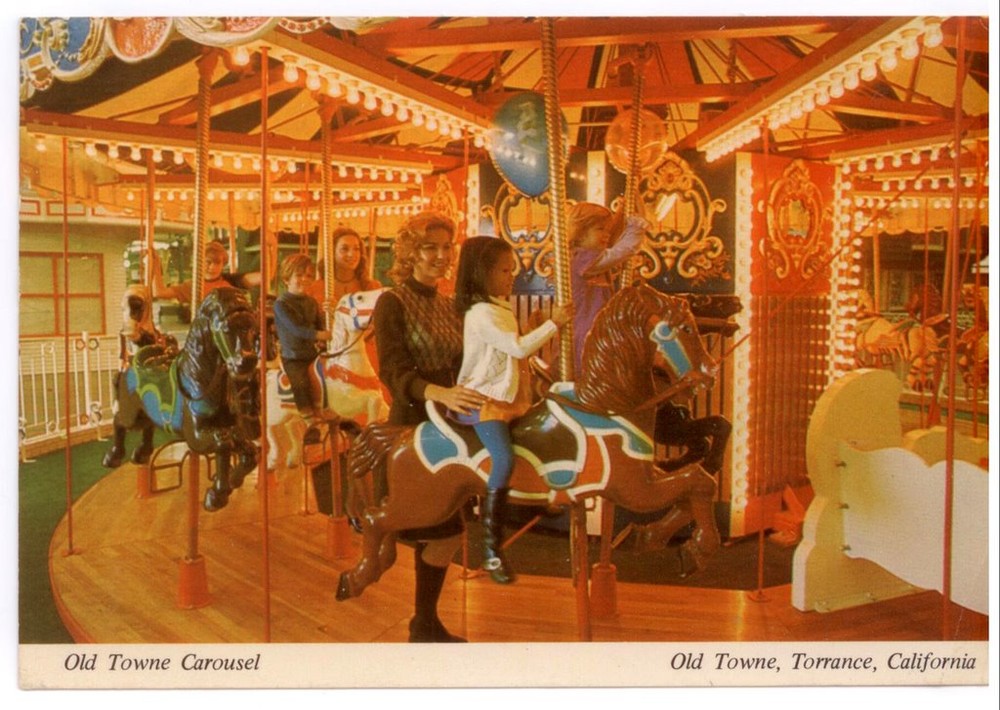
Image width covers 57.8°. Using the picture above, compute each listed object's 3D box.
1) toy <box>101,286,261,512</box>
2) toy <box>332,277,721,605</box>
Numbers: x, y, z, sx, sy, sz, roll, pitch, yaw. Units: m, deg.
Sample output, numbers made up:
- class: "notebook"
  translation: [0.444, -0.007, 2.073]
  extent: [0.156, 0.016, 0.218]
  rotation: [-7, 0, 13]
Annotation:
- class: "toy"
  translation: [-1.670, 0.196, 4.717]
  extent: [1.053, 1.087, 0.337]
  rotation: [11, 9, 33]
- class: "toy"
  translation: [0.125, 0.421, 4.333]
  extent: [1.823, 1.366, 0.507]
  rotation: [-3, 3, -8]
